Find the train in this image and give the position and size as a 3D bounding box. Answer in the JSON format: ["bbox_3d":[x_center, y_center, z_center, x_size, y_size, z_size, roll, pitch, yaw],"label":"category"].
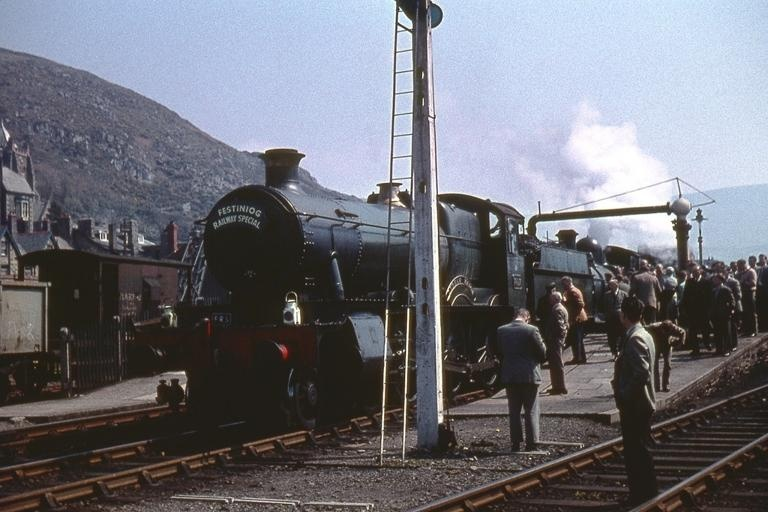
[{"bbox_3d":[0.536,0.801,16.244,4.046,4.453,11.738,-3,-4,31],"label":"train"}]

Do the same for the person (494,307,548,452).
[{"bbox_3d":[2.191,1.959,10.649,0.704,2.184,0.543,-2,-5,-1],"label":"person"}]

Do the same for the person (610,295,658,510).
[{"bbox_3d":[3.040,1.733,8.095,0.503,2.460,0.398,-3,-5,5],"label":"person"}]
